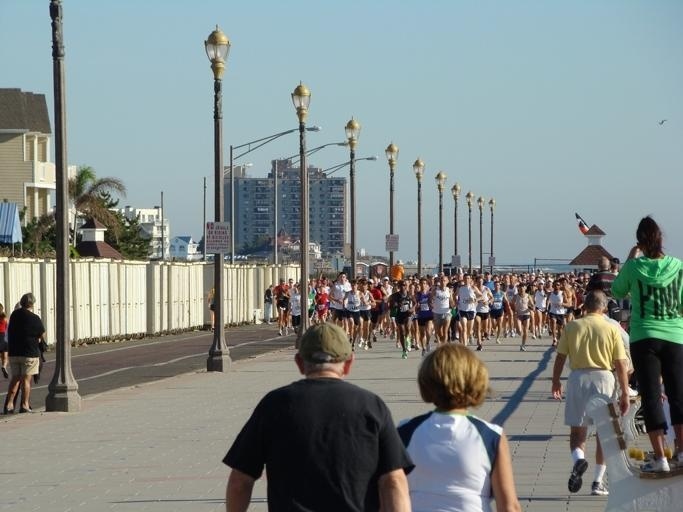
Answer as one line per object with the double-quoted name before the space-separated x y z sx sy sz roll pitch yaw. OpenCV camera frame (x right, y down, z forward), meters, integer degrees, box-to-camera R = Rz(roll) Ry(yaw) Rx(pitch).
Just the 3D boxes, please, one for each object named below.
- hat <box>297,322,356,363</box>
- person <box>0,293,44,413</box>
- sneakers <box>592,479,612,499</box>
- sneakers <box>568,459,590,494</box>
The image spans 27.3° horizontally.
"hat" -0.154 0.818 13.197 0.495 0.382 0.282 -1 -1 0
"person" -5.257 1.600 23.235 0.678 1.950 0.933 0 -1 -13
"sneakers" 3.144 2.813 16.998 0.114 0.142 0.297 1 1 27
"sneakers" 2.814 2.605 16.632 0.169 0.482 0.208 13 -3 -7
